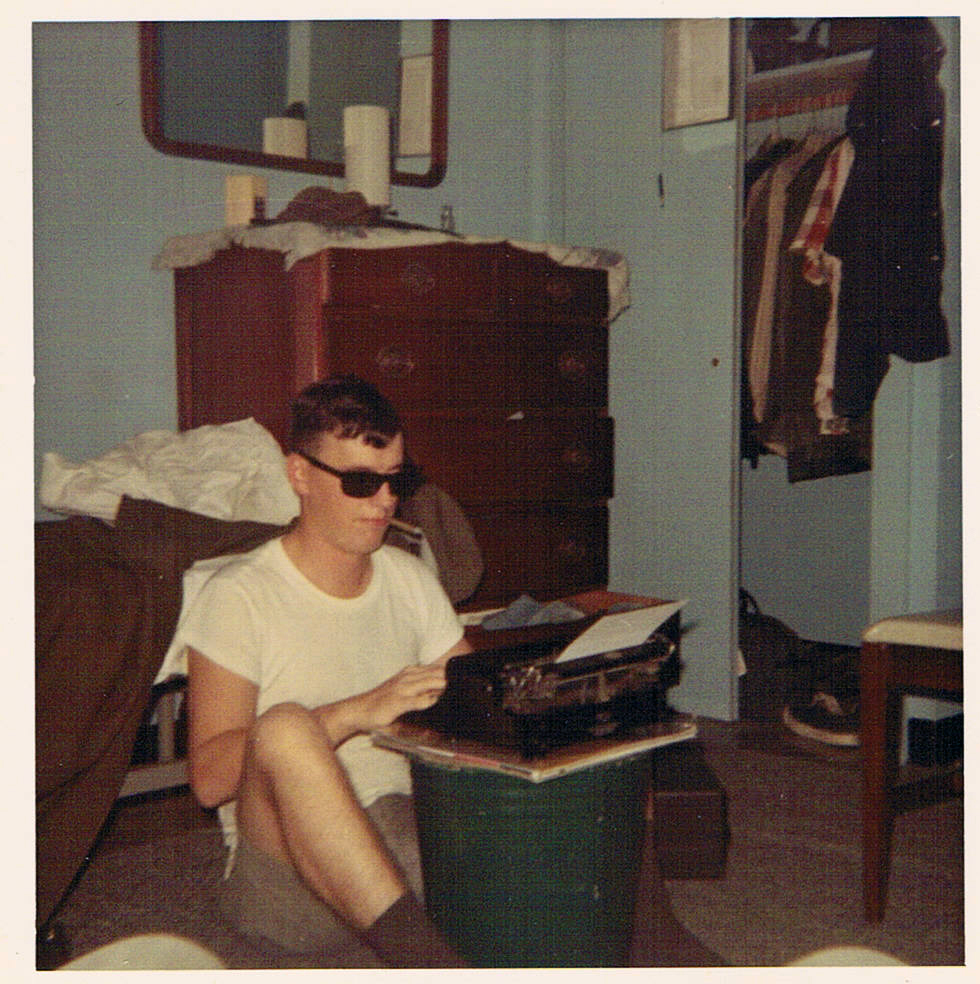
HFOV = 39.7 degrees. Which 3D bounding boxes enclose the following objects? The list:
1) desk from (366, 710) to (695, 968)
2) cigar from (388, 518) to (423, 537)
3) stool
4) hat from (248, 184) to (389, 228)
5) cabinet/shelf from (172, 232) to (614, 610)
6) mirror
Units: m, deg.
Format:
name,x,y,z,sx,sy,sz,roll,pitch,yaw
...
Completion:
name,x,y,z,sx,sy,sz,roll,pitch,yaw
desk,0.077,0.559,2.156,0.424,0.317,0.411,-1,-1,-27
cigar,-0.143,0.058,2.310,0.018,0.018,0.069,5,-10,34
stool,0.730,0.460,2.350,0.183,0.505,0.236,3,7,15
hat,-0.301,-0.517,2.439,0.232,0.077,0.156,-1,8,-18
cabinet/shelf,-0.195,-0.118,2.303,0.658,0.655,0.341,-4,2,-42
mirror,-0.338,-0.716,2.448,0.565,0.281,0.329,0,8,-14
